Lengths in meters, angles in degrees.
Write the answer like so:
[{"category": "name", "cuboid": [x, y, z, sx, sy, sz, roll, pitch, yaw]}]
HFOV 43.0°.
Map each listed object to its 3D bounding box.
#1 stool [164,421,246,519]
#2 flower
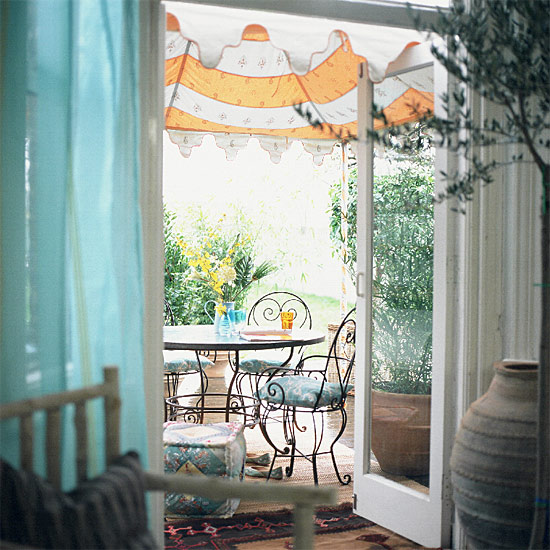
[{"category": "stool", "cuboid": [-0.256, 0.963, 3.380, 0.553, 0.418, 0.559, -7, -11, 4]}, {"category": "flower", "cuboid": [-0.315, 0.007, 5.306, 0.540, 0.588, 0.548, 7, 13, 41]}]
